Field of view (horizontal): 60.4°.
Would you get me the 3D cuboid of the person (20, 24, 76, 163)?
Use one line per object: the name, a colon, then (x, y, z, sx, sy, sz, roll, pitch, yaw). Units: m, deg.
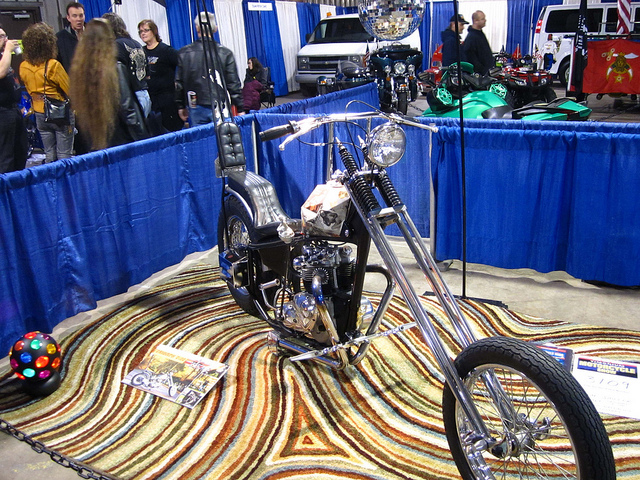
person: (-2.958, -1.585, 6.012, 0.590, 1.452, 0.289, 1, 15, 6)

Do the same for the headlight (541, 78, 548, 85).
headlight: (4.075, -2.872, 9.961, 0.092, 0.097, 0.029, 1, 4, 6)

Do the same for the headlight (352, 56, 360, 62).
headlight: (0.851, -4.286, 13.029, 0.180, 0.200, 0.047, 0, -7, 7)

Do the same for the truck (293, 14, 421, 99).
truck: (1.401, -5.148, 15.301, 2.371, 2.238, 4.391, 10, 24, 31)

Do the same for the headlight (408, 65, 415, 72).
headlight: (1.847, -3.447, 11.051, 0.111, 0.086, 0.114, 3, 13, 5)

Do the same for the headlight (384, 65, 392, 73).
headlight: (1.370, -3.431, 11.033, 0.134, 0.141, 0.046, 2, 1, 6)

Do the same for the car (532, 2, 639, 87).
car: (6.349, -5.043, 13.827, 1.546, 1.505, 2.483, 20, 45, 35)

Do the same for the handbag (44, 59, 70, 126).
handbag: (-2.849, -1.562, 5.992, 0.230, 0.717, 0.249, -15, 37, -43)

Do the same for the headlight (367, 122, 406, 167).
headlight: (0.373, -0.533, 3.108, 0.206, 0.256, 0.128, 0, 15, 1)

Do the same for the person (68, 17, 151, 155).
person: (-2.054, -1.436, 5.154, 0.452, 1.163, 0.723, -3, 15, -6)

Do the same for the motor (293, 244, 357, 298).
motor: (0.026, 0.157, 3.544, 0.350, 0.356, 0.338, -11, 22, -39)
